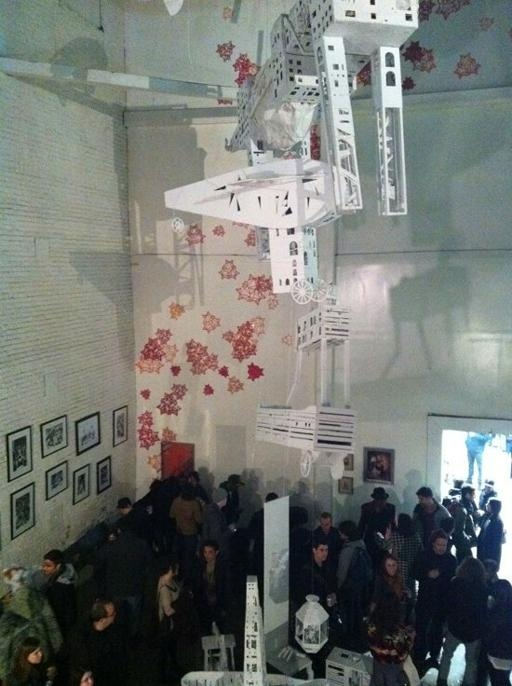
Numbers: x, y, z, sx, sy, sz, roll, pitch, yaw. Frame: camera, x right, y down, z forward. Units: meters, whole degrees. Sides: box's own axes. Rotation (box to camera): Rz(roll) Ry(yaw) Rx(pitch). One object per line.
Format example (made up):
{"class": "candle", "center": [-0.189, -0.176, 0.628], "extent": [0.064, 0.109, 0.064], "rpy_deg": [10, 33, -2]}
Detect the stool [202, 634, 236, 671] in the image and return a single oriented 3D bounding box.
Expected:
{"class": "stool", "center": [-0.222, 1.822, 3.434], "extent": [0.210, 0.266, 0.222], "rpy_deg": [-2, -25, 3]}

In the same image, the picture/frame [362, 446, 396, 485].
{"class": "picture/frame", "center": [0.894, 0.890, 4.185], "extent": [0.300, 0.332, 0.027], "rpy_deg": [0, -5, 22]}
